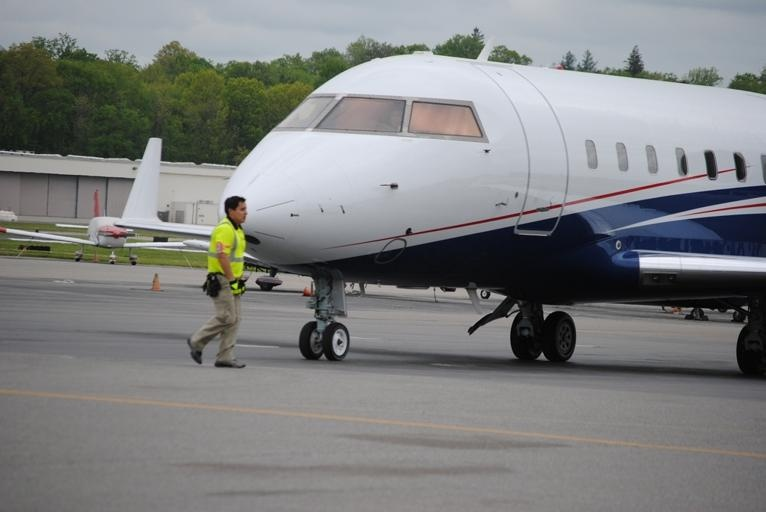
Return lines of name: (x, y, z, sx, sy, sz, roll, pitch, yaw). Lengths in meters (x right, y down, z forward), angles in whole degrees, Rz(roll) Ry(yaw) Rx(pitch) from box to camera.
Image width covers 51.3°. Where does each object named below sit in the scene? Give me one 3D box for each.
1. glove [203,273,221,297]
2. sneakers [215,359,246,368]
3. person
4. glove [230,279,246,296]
glove: (-2.553, 0.438, 12.132, 0.290, 0.350, 0.150, 4, -4, 27)
sneakers: (-2.268, 1.605, 11.910, 0.433, 0.156, 0.149, 0, 0, -5)
person: (-2.401, 0.375, 12.077, 0.791, 1.854, 0.712, 4, 2, -11)
glove: (-2.217, 0.480, 12.251, 0.202, 0.221, 0.257, 1, -9, -10)
